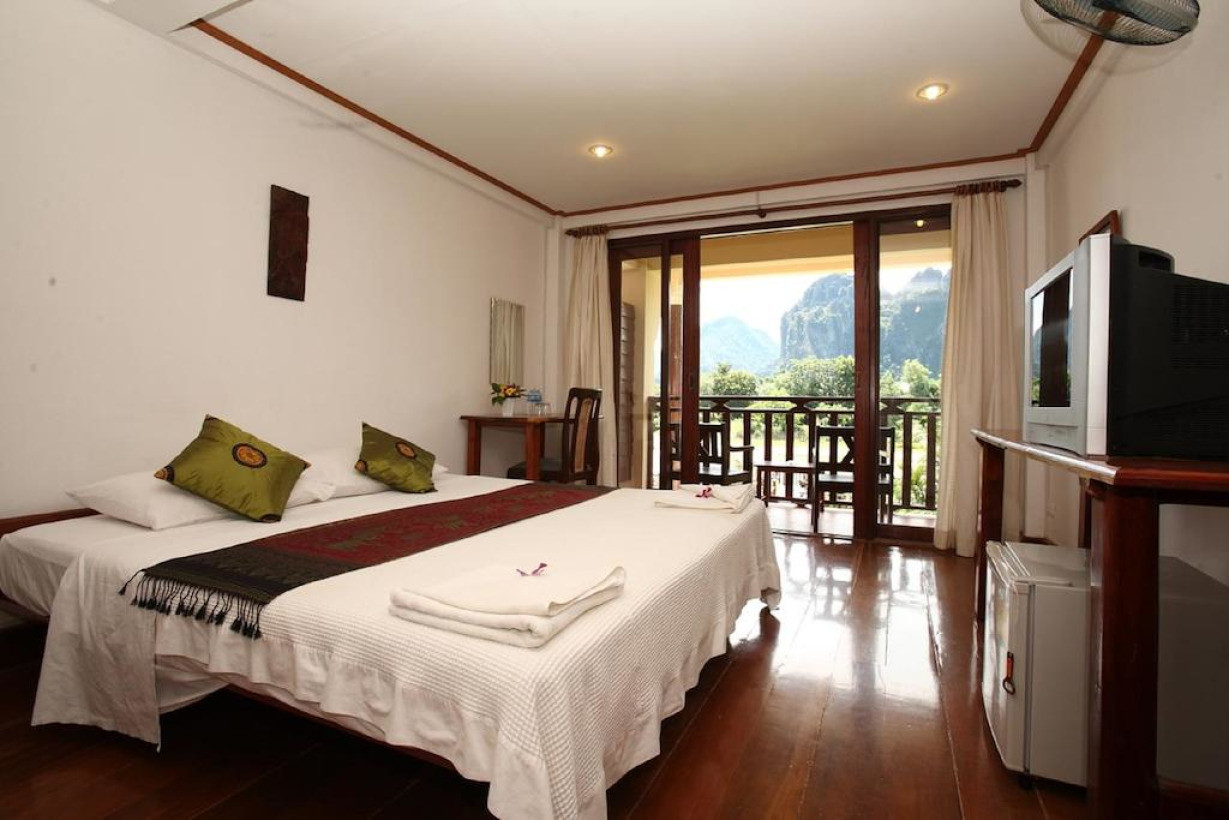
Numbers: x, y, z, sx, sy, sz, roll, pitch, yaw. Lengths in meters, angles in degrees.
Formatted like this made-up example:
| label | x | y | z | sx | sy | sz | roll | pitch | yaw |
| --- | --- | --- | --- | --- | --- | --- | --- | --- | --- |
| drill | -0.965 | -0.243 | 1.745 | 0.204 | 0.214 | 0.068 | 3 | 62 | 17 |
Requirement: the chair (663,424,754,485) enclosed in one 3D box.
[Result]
| label | x | y | z | sx | sy | sz | roll | pitch | yaw |
| --- | --- | --- | --- | --- | --- | --- | --- | --- | --- |
| chair | 0.820 | 0.306 | 6.755 | 0.610 | 0.900 | 0.597 | 1 | 1 | 32 |

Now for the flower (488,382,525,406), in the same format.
| label | x | y | z | sx | sy | sz | roll | pitch | yaw |
| --- | --- | --- | --- | --- | --- | --- | --- | --- | --- |
| flower | -0.879 | -0.137 | 6.126 | 0.194 | 0.088 | 0.197 | 5 | 10 | 45 |

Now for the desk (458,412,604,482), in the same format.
| label | x | y | z | sx | sy | sz | roll | pitch | yaw |
| --- | --- | --- | --- | --- | --- | --- | --- | --- | --- |
| desk | -0.869 | 0.315 | 6.003 | 0.714 | 0.506 | 0.748 | 5 | 5 | 41 |

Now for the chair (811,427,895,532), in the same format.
| label | x | y | z | sx | sy | sz | roll | pitch | yaw |
| --- | --- | --- | --- | --- | --- | --- | --- | --- | --- |
| chair | 1.903 | 0.522 | 6.211 | 0.676 | 0.817 | 0.678 | 3 | 3 | 31 |

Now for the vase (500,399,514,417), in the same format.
| label | x | y | z | sx | sy | sz | roll | pitch | yaw |
| --- | --- | --- | --- | --- | --- | --- | --- | --- | --- |
| vase | -0.838 | -0.021 | 6.099 | 0.129 | 0.139 | 0.129 | -1 | -2 | 11 |
